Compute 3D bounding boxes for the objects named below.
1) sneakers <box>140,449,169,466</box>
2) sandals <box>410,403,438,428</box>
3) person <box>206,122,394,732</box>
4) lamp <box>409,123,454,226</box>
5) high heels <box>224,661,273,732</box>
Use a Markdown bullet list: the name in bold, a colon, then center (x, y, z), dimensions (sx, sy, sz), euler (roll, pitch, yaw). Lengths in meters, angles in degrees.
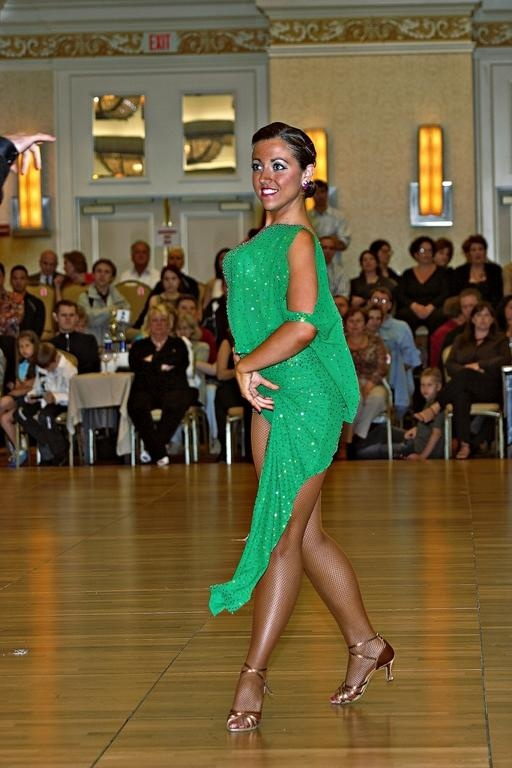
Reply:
- **sneakers**: center (-0.873, 0.660, 6.985), dimensions (0.343, 0.191, 0.104), euler (0, 5, -7)
- **sandals**: center (1.512, 0.242, 6.911), dimensions (0.094, 0.119, 0.351), euler (46, 38, 18)
- **person**: center (0.069, 0.077, 1.530), dimensions (0.293, 1.167, 0.359), euler (1, 2, 31)
- **lamp**: center (2.325, -2.795, 10.600), dimensions (0.654, 1.309, 0.156), euler (-5, 11, -11)
- **high heels**: center (-0.021, 0.570, 1.451), dimensions (0.072, 0.133, 0.089), euler (0, 2, -2)
